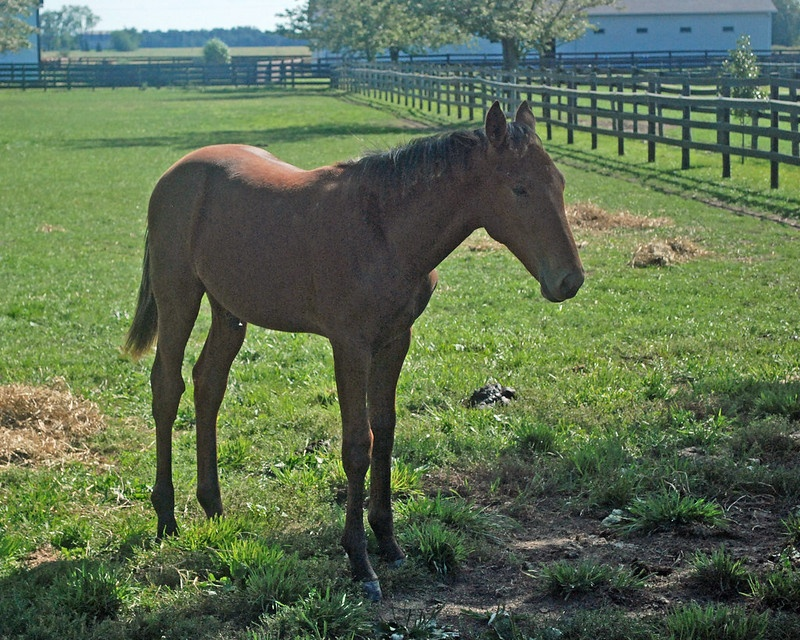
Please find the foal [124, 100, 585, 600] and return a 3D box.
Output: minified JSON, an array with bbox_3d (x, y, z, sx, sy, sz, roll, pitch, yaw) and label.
[{"bbox_3d":[-0.667,0.146,11.276,4.387,4.313,1.197,6,11,22],"label":"foal"}]
